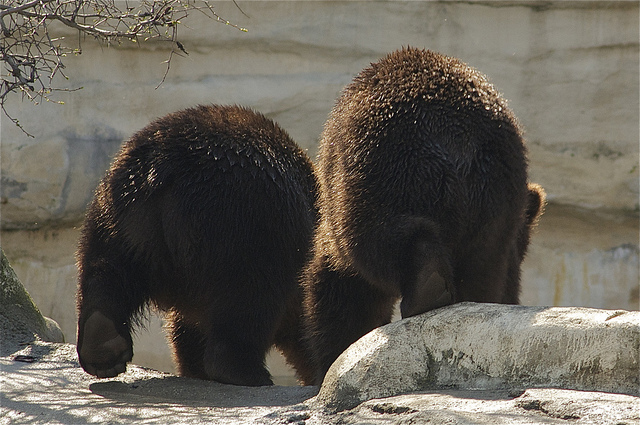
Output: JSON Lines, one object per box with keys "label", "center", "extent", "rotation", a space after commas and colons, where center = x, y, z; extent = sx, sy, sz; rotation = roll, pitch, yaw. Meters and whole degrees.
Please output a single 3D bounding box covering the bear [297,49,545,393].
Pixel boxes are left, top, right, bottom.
{"label": "bear", "center": [1.260, 0.102, 21.962], "extent": [2.952, 4.412, 1.234], "rotation": [-1, 11, 1]}
